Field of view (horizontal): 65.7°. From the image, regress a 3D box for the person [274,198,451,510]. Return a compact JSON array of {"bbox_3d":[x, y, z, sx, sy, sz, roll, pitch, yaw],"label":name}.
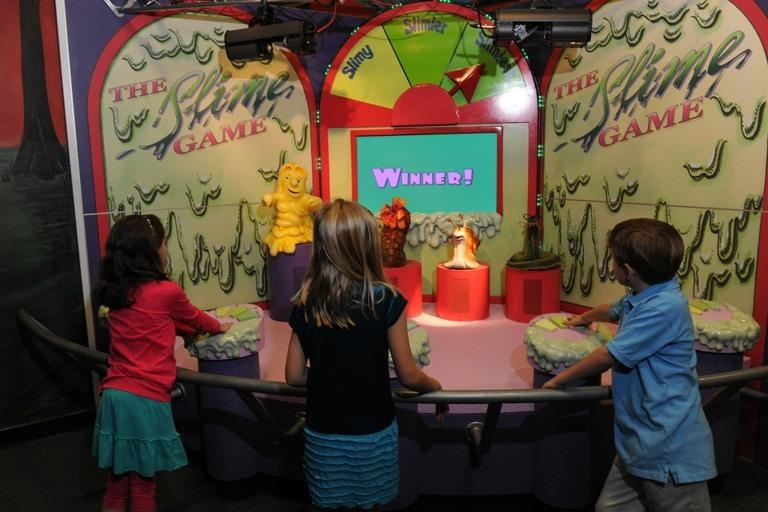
[{"bbox_3d":[-0.143,0.493,2.917,0.672,1.548,0.243,-3,7,-7],"label":"person"}]
